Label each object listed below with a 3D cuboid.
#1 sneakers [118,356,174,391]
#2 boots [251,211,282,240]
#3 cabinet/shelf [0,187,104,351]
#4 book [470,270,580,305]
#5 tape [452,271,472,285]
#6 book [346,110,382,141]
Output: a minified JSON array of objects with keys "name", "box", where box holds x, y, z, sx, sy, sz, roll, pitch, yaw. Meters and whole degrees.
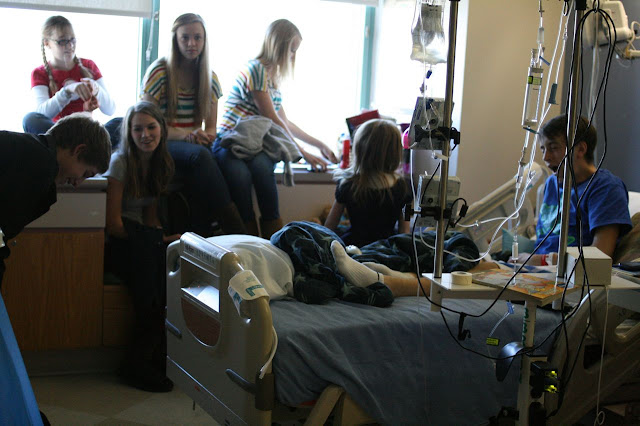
[{"name":"sneakers","box":[-1.106,1.046,3.495,0.282,0.094,0.231,17,0,-32]},{"name":"boots","box":[-0.412,0.098,4.261,0.199,0.215,0.191,1,5,5]},{"name":"cabinet/shelf","box":[-1.692,0.363,3.528,0.604,1.013,0.183,-3,12,-17]},{"name":"book","box":[0.902,0.317,2.411,0.210,0.027,0.244,-7,15,-33]},{"name":"tape","box":[0.621,0.291,2.411,0.060,0.036,0.061,2,7,5]},{"name":"book","box":[0.343,-0.763,4.513,0.262,0.165,0.256,-20,10,11]}]
